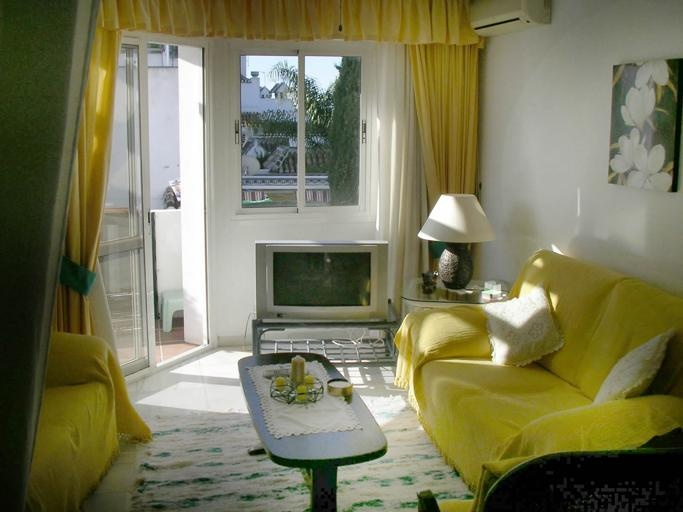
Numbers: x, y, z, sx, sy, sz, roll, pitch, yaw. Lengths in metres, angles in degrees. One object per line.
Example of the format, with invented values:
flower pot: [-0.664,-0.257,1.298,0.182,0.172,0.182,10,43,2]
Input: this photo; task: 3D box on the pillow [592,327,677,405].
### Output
pillow: [1.257,0.492,2.295,0.258,0.319,0.380,8,12,39]

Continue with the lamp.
lamp: [0.916,-0.102,4.258,0.574,0.735,0.616,1,6,1]

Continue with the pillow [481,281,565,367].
pillow: [1.096,0.444,3.181,0.409,0.433,0.123,-33,-45,30]
